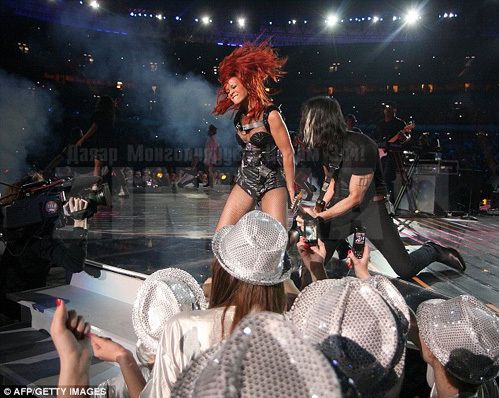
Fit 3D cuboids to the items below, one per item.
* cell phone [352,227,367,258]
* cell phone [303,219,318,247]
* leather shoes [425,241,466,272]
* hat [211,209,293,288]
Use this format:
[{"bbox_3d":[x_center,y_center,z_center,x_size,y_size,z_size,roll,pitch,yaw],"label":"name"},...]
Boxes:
[{"bbox_3d":[0.514,0.203,1.516,0.057,0.135,0.087,11,11,19],"label":"cell phone"},{"bbox_3d":[0.330,0.186,1.753,0.081,0.130,0.096,6,11,-4],"label":"cell phone"},{"bbox_3d":[1.737,0.516,2.873,0.340,0.212,0.199,13,12,28],"label":"leather shoes"},{"bbox_3d":[-0.011,0.187,1.153,0.243,0.109,0.270,-20,54,-36],"label":"hat"}]
